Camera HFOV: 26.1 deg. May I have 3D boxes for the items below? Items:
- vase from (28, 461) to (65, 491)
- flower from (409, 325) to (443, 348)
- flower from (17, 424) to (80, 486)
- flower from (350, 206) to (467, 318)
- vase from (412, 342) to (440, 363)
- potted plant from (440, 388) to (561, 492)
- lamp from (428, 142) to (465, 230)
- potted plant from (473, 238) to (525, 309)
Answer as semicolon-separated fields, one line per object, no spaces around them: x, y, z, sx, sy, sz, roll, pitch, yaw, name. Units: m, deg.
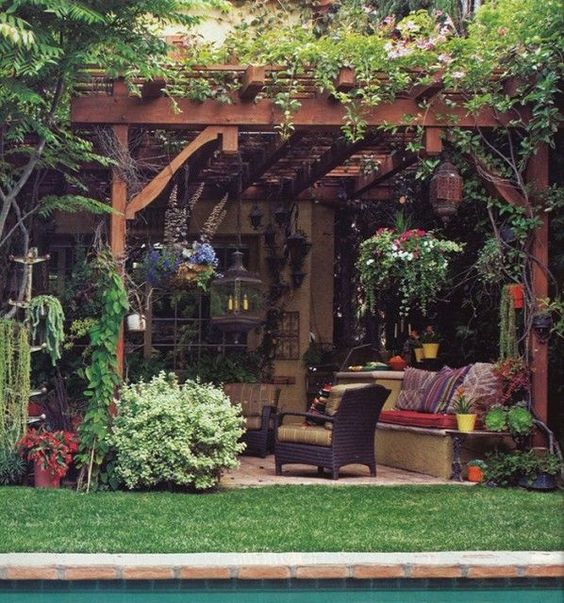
-1.837;1.345;9.407;0.222;0.192;0.213;0;-4;0;vase
1.510;0.334;12.543;0.241;0.168;0.253;6;-12;-30;flower
-1.838;1.218;9.591;0.429;0.450;0.456;6;20;-27;flower
1.094;-0.358;11.055;0.948;1.024;1.217;1;2;24;flower
1.497;0.518;12.412;0.209;0.140;0.214;8;-12;-41;vase
1.908;1.130;10.145;0.583;0.808;1.076;5;-7;-43;potted plant
1.406;-1.023;10.319;0.261;0.654;0.266;0;-5;6;lamp
1.914;-0.252;10.510;0.375;0.654;0.545;0;-5;7;potted plant
